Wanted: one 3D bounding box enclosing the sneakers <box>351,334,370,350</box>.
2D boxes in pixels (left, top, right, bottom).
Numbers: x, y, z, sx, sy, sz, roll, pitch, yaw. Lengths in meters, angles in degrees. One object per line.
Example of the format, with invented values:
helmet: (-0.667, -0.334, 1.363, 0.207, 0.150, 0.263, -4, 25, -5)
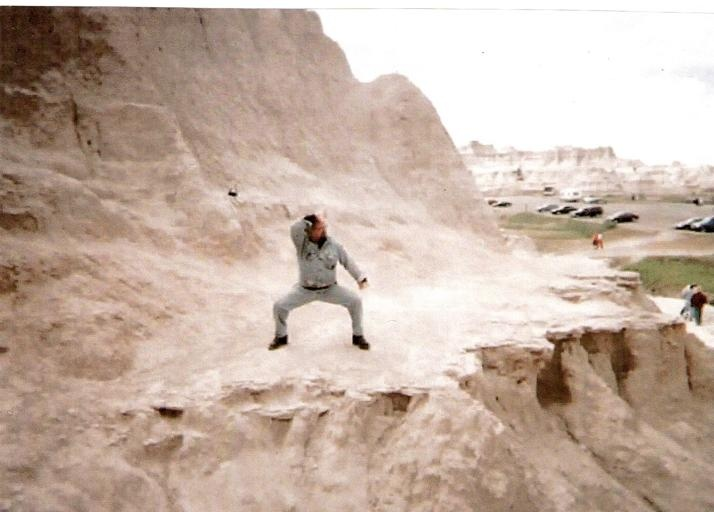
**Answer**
sneakers: (0.017, 1.136, 12.920, 0.249, 0.154, 0.135, 9, 20, 26)
